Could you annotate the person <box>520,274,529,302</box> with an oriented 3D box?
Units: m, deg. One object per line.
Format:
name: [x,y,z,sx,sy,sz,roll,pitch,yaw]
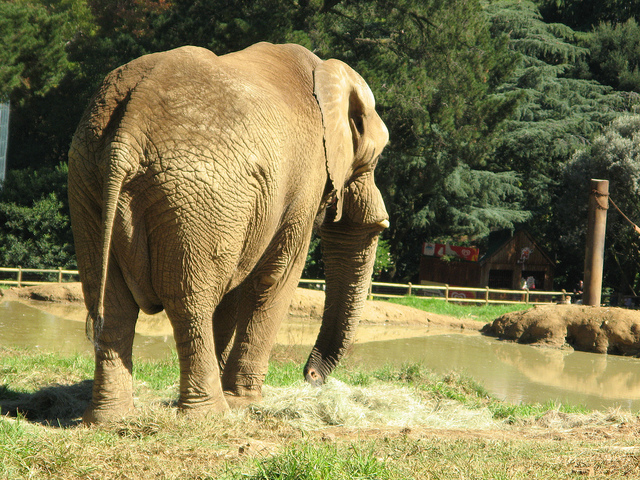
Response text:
person: [7.686,1.789,42.974,0.359,1.042,1.731,5,0,10]

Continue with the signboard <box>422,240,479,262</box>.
signboard: [4.942,0.450,43.549,2.359,0.740,0.670,7,1,44]
